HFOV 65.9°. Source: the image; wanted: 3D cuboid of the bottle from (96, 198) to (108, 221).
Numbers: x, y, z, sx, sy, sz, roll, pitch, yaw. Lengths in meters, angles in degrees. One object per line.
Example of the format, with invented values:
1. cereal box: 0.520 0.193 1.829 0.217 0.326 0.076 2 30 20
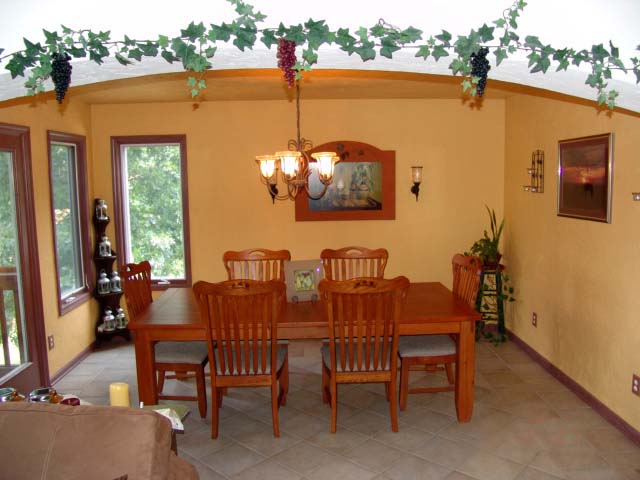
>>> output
1. bottle: -2.392 -0.335 5.390 0.112 0.223 0.140 -5 13 -19

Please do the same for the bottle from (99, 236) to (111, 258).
1. bottle: -2.372 0.048 5.481 0.117 0.222 0.298 -4 12 -12

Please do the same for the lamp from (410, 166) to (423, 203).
1. lamp: 1.095 -0.649 5.609 0.143 0.390 0.136 0 12 5

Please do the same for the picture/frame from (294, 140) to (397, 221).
1. picture/frame: 0.271 -0.675 5.281 0.851 0.686 0.023 -1 2 -2

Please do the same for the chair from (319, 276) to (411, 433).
1. chair: 0.340 0.819 3.839 0.672 1.249 0.648 -1 12 2

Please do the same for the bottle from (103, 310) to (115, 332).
1. bottle: -2.327 0.879 5.441 0.136 0.238 0.106 -10 15 -37

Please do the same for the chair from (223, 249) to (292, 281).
1. chair: -0.630 0.247 4.797 0.606 0.367 0.569 -4 12 -16

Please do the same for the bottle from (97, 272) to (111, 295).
1. bottle: -2.367 0.462 5.402 0.144 0.236 0.115 -11 16 -39

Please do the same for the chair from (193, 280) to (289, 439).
1. chair: -0.578 0.827 3.820 0.643 1.244 0.635 -2 12 -5

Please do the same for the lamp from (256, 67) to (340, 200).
1. lamp: -0.170 -0.860 3.939 0.617 1.049 0.643 -1 0 3

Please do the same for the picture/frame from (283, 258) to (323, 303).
1. picture/frame: -0.145 0.346 4.128 0.336 0.375 0.032 1 -12 -13
